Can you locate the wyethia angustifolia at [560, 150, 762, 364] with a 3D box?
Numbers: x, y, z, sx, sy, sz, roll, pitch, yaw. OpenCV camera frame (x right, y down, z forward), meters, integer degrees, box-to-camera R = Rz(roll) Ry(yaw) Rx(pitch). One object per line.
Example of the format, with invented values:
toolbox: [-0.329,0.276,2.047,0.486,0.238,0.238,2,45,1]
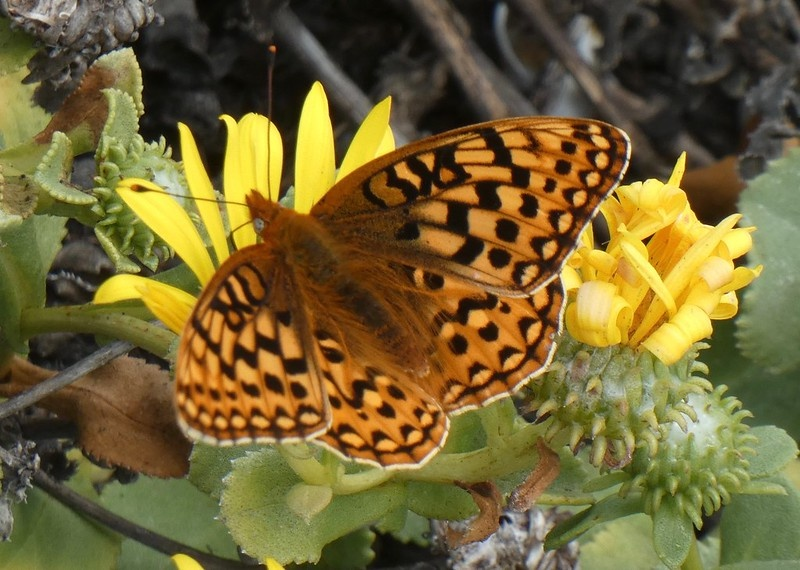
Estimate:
wyethia angustifolia: [0.500,0.004,2.096,0.477,0.431,0.278,5,85,-35]

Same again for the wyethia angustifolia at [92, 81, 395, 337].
wyethia angustifolia: [-0.290,-0.163,2.070,0.529,0.156,0.541,-36,96,-20]

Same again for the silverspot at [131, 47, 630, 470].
silverspot: [0.013,0.006,1.968,0.747,0.345,0.658,6,78,-2]
